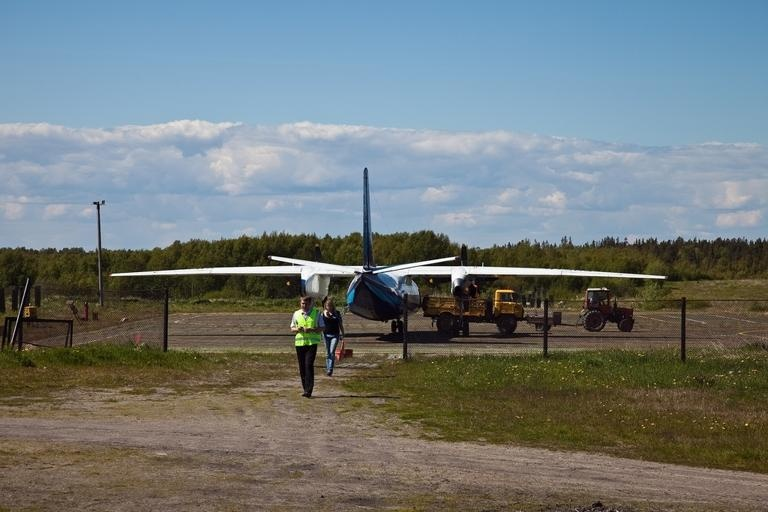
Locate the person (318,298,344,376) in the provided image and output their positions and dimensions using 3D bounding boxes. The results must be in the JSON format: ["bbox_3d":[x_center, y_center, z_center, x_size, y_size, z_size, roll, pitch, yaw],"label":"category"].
[{"bbox_3d":[-2.091,3.218,47.437,0.868,2.645,1.273,0,-1,-10],"label":"person"}]

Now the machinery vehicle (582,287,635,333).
[{"bbox_3d":[12.811,3.135,67.865,3.232,2.547,2.060,0,-1,-6],"label":"machinery vehicle"}]
